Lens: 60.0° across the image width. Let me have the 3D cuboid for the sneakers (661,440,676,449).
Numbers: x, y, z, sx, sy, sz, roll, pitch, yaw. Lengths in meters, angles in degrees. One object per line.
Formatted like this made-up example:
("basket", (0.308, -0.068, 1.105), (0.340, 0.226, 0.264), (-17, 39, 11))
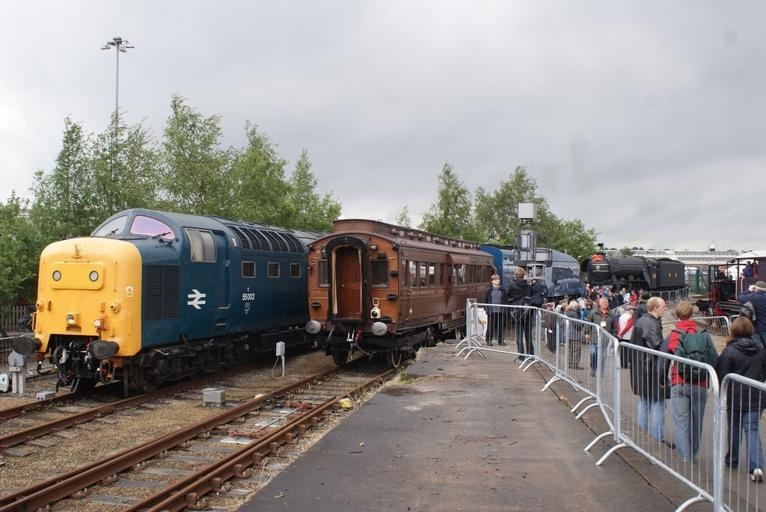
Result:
("sneakers", (4.556, 3.015, 10.539), (0.125, 0.149, 0.404), (-13, -28, 28))

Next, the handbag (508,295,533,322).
("handbag", (3.776, 1.431, 18.163), (0.639, 0.593, 0.192), (-15, -8, 41))
